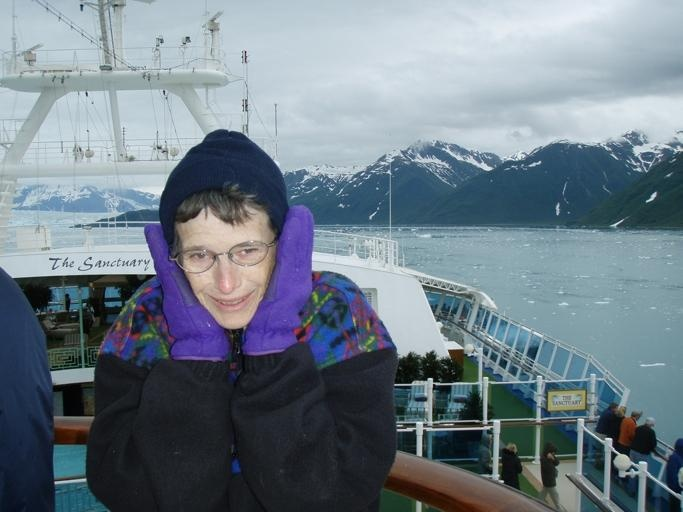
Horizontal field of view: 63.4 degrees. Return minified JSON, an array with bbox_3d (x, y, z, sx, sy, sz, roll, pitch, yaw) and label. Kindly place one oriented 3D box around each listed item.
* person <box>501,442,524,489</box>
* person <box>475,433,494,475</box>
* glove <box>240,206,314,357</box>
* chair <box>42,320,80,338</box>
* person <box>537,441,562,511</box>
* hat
[{"bbox_3d":[3.402,4.241,11.094,0.395,0.867,0.395,3,6,28],"label":"person"},{"bbox_3d":[2.935,4.042,11.268,0.282,0.861,0.321,2,6,14],"label":"person"},{"bbox_3d":[-0.241,0.100,2.348,0.188,0.610,0.331,4,7,37],"label":"glove"},{"bbox_3d":[-9.492,2.485,18.764,1.070,0.544,0.796,1,0,-6],"label":"chair"},{"bbox_3d":[4.496,4.685,11.860,0.448,1.473,1.015,3,6,24],"label":"person"},{"bbox_3d":[-0.541,-0.381,2.651,0.465,0.491,0.512,3,-22,-5],"label":"hat"}]
